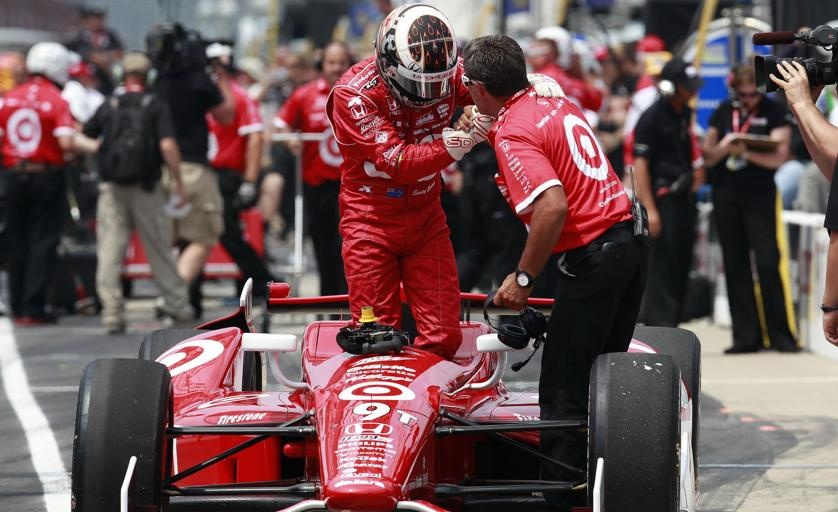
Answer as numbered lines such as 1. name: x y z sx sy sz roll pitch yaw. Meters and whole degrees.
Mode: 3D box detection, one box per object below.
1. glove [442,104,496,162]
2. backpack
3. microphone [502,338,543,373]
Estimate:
1. glove: 0.389 -0.982 13.415 0.489 0.309 0.189 -44 -20 12
2. backpack: -3.135 -1.216 17.876 0.508 1.115 0.575 1 0 -36
3. microphone: 0.858 0.806 13.178 0.342 0.091 0.253 -41 -3 2
